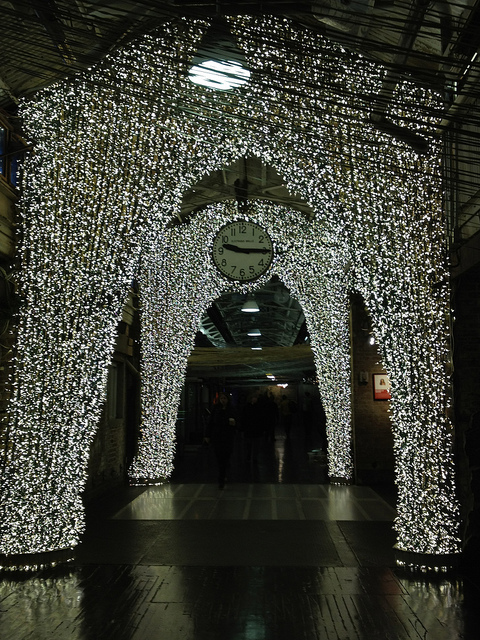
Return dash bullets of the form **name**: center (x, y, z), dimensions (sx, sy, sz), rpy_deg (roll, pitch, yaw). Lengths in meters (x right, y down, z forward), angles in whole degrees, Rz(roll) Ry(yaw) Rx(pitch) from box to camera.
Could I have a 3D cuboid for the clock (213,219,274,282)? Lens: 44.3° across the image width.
- **clock**: center (0.046, -0.996, 8.627), dimensions (1.071, 1.008, 0.071), rpy_deg (0, 2, 5)
